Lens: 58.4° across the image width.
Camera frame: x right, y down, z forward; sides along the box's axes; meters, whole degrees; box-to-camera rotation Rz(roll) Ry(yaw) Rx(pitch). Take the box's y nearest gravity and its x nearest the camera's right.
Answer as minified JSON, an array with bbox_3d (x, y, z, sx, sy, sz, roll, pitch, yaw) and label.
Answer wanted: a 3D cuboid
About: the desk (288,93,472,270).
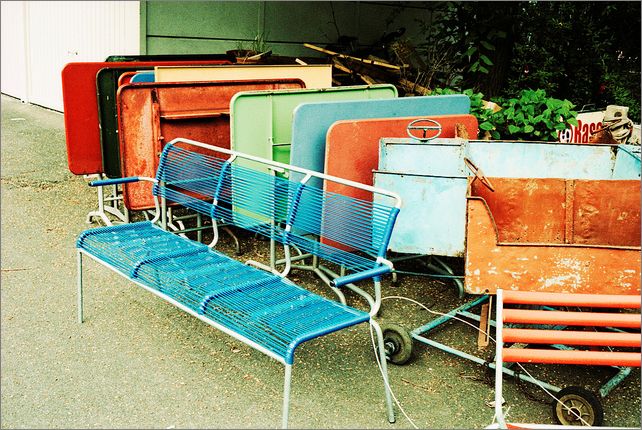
[{"bbox_3d":[0.430,-0.649,5.803,2.131,1.059,0.449,-5,10,-29],"label":"desk"}]

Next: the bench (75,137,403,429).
[{"bbox_3d":[-0.644,0.606,4.950,2.447,1.099,0.963,17,26,38],"label":"bench"}]

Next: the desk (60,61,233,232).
[{"bbox_3d":[-1.823,-0.838,7.086,2.838,1.973,0.869,1,8,-1],"label":"desk"}]
